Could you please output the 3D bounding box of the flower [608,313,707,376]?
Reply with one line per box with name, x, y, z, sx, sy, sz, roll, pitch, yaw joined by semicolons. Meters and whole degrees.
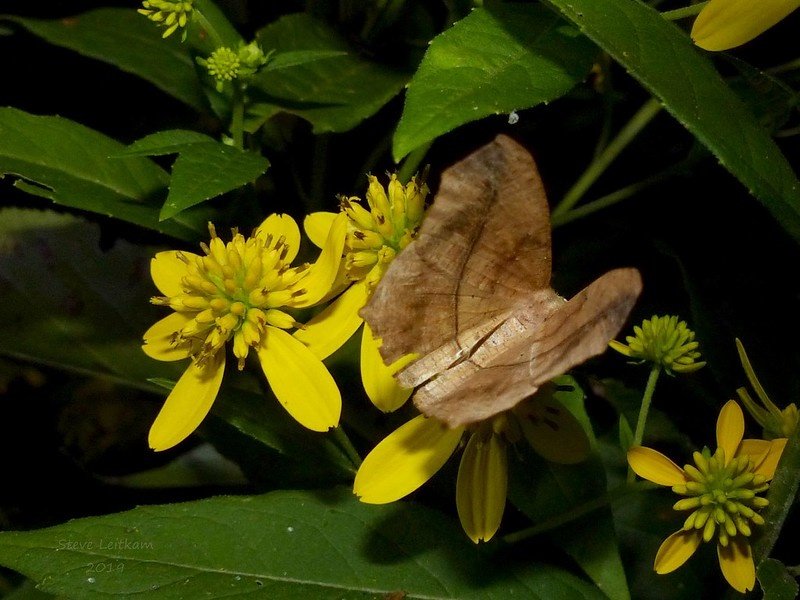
flower;0.482;0.075;1.712;0.159;0.081;0.134;20;10;41
